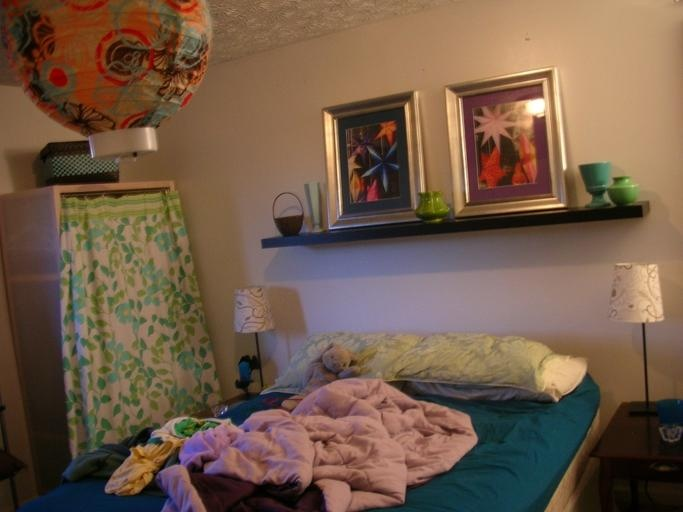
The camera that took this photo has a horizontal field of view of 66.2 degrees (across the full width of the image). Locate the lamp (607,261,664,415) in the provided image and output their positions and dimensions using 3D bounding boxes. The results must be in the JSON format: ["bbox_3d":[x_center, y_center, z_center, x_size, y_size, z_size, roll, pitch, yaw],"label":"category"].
[{"bbox_3d":[1.531,0.414,2.720,0.228,0.779,0.344,-4,5,28],"label":"lamp"}]
